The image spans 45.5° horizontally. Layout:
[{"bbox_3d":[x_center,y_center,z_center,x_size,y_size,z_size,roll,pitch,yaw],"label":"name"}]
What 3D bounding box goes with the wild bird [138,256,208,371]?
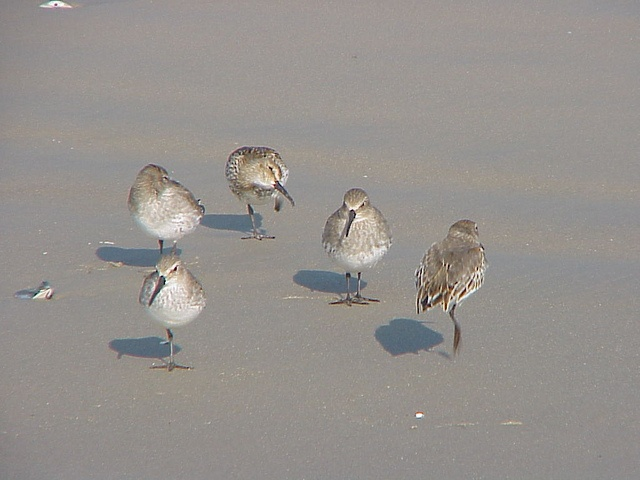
[{"bbox_3d":[-2.008,0.718,10.171,0.795,0.431,0.826,-41,77,-8],"label":"wild bird"}]
